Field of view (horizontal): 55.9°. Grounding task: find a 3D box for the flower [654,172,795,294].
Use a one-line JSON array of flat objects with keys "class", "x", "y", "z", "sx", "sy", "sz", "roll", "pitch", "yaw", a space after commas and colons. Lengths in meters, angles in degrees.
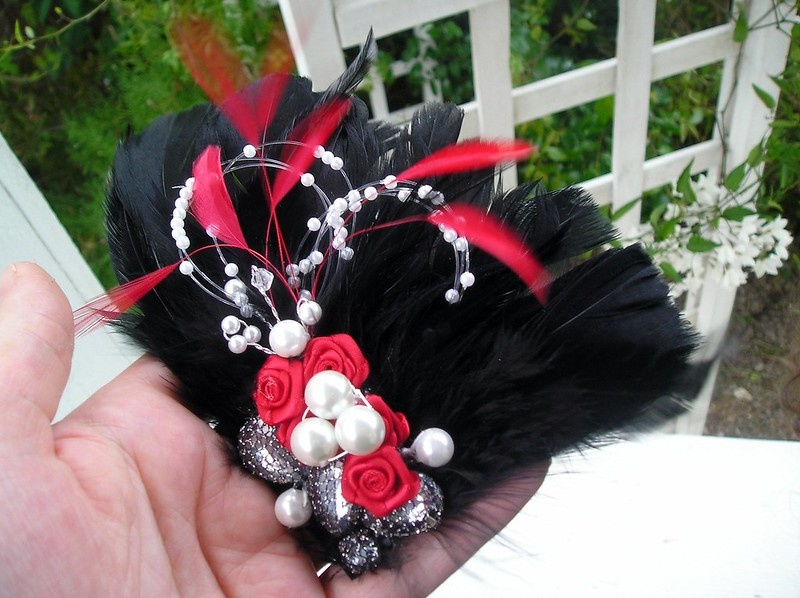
[{"class": "flower", "x": 0.825, "y": -0.174, "z": 1.917, "sx": 0.208, "sy": 0.213, "sz": 0.224, "roll": -27, "pitch": 88, "yaw": -21}]
